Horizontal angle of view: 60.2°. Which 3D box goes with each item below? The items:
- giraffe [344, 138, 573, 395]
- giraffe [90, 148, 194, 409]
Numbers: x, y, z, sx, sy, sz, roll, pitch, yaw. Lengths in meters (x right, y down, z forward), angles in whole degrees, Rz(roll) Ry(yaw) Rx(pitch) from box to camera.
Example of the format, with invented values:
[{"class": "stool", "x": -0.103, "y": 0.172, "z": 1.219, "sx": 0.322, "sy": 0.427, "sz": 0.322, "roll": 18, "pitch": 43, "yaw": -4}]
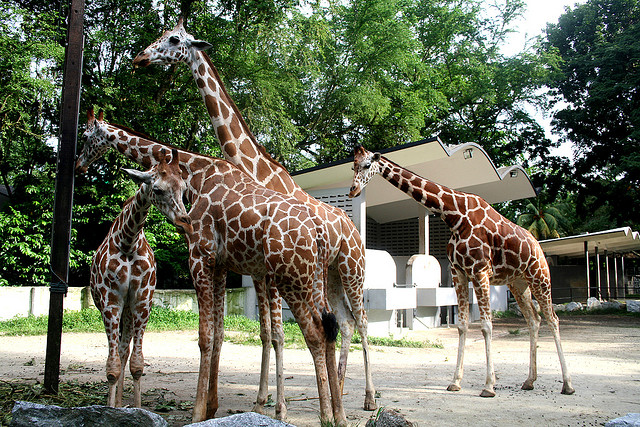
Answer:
[{"class": "giraffe", "x": 3.687, "y": 1.351, "z": 12.683, "sx": 3.310, "sy": 4.915, "sz": 5.403, "roll": -6, "pitch": -10, "yaw": 22}, {"class": "giraffe", "x": -3.098, "y": 1.130, "z": 9.188, "sx": 0.784, "sy": 4.108, "sz": 1.950, "roll": 7, "pitch": -13, "yaw": -44}]
